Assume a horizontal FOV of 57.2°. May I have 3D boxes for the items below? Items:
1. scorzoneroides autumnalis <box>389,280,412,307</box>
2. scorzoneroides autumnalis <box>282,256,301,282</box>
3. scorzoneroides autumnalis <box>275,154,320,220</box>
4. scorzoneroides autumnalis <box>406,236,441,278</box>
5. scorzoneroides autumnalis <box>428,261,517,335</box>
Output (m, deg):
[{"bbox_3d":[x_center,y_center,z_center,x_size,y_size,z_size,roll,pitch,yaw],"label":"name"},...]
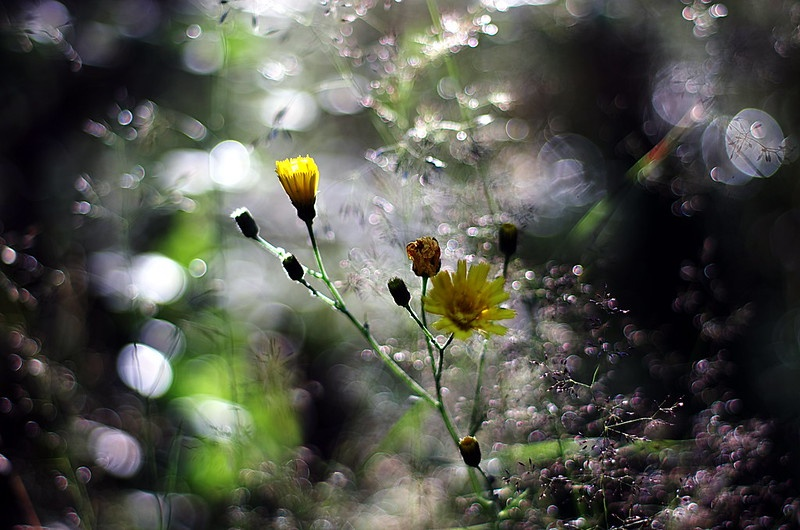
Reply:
[{"bbox_3d":[0.000,0.073,1.952,0.031,0.033,0.097,19,-28,23],"label":"scorzoneroides autumnalis"},{"bbox_3d":[-0.289,0.007,1.963,0.054,0.067,0.054,1,-23,-10],"label":"scorzoneroides autumnalis"},{"bbox_3d":[-0.267,-0.218,2.001,0.092,0.195,0.094,-5,3,35],"label":"scorzoneroides autumnalis"},{"bbox_3d":[0.068,-0.020,1.980,0.076,0.055,0.111,-2,-67,3],"label":"scorzoneroides autumnalis"},{"bbox_3d":[0.180,0.086,1.925,0.234,0.227,0.110,-3,-22,-1],"label":"scorzoneroides autumnalis"}]
